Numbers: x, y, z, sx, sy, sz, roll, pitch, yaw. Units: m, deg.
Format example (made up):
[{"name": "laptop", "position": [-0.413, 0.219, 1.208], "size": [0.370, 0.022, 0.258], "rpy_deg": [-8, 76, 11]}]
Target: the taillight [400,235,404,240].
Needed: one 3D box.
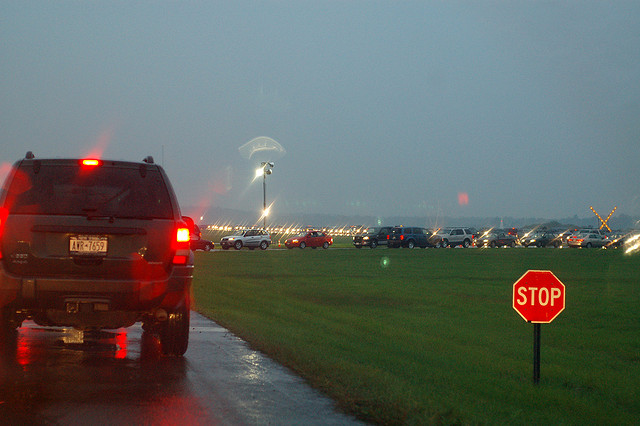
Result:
[{"name": "taillight", "position": [7.793, 2.301, 59.837], "size": [0.330, 0.404, 0.189], "rpy_deg": [0, -1, -9]}]

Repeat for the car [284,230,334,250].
[{"name": "car", "position": [-0.960, 2.480, 58.145], "size": [4.448, 1.554, 1.874], "rpy_deg": [0, -1, -43]}]

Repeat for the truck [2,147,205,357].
[{"name": "truck", "position": [-3.792, 0.574, 12.216], "size": [2.948, 2.503, 4.713], "rpy_deg": [1, 2, -6]}]

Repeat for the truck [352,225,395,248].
[{"name": "truck", "position": [4.392, 2.355, 59.945], "size": [5.068, 2.019, 3.085], "rpy_deg": [4, -6, -37]}]

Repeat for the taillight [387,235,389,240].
[{"name": "taillight", "position": [6.451, 2.275, 59.882], "size": [0.171, 0.348, 0.111], "rpy_deg": [-1, -1, 29]}]

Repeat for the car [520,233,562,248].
[{"name": "car", "position": [25.464, 3.117, 72.629], "size": [4.013, 1.228, 1.774], "rpy_deg": [2, -2, -7]}]

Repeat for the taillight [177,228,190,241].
[{"name": "taillight", "position": [-2.247, 0.357, 10.333], "size": [0.218, 0.205, 0.051], "rpy_deg": [-1, 3, -25]}]

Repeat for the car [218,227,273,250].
[{"name": "car", "position": [-6.467, 2.261, 55.656], "size": [4.063, 1.600, 1.956], "rpy_deg": [4, -5, -34]}]

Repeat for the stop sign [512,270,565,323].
[{"name": "stop sign", "position": [3.456, 1.304, 10.020], "size": [0.924, 0.830, 0.094], "rpy_deg": [3, -4, -14]}]

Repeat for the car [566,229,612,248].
[{"name": "car", "position": [29.180, 2.964, 68.844], "size": [4.060, 1.486, 2.154], "rpy_deg": [-1, -1, 15]}]
